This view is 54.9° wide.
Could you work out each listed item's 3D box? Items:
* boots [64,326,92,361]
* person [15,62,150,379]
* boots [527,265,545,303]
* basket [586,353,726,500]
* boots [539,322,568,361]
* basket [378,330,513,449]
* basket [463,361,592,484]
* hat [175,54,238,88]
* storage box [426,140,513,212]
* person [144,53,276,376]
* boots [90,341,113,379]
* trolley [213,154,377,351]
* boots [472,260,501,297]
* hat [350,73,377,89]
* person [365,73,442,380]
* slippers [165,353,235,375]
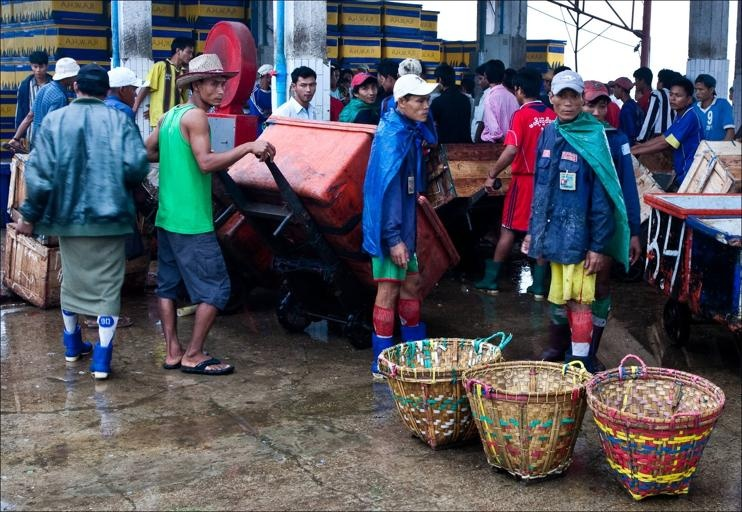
[{"bbox_3d":[-2.540,0.722,6.140,0.157,0.256,0.356,3,9,5],"label":"boots"},{"bbox_3d":[-2.239,-0.262,5.643,0.955,2.443,0.443,3,11,5],"label":"person"},{"bbox_3d":[1.808,0.286,7.920,0.111,0.269,0.281,20,-8,36],"label":"boots"},{"bbox_3d":[1.691,1.044,4.271,0.731,0.695,0.645,7,12,26],"label":"basket"},{"bbox_3d":[1.563,0.713,5.944,0.222,0.335,0.269,5,12,14],"label":"boots"},{"bbox_3d":[0.427,0.836,4.773,0.885,0.591,0.744,-5,5,-32],"label":"basket"},{"bbox_3d":[0.946,0.962,4.535,0.726,0.626,0.762,-2,1,-12],"label":"basket"},{"bbox_3d":[-1.351,-1.525,5.822,0.460,0.270,0.303,-2,12,-16],"label":"hat"},{"bbox_3d":[1.198,-0.955,8.380,0.836,0.499,0.818,-1,11,-1],"label":"storage box"},{"bbox_3d":[-1.444,-0.350,5.842,1.005,2.554,0.556,9,14,33],"label":"person"},{"bbox_3d":[-2.203,0.823,5.792,0.152,0.261,0.380,8,2,-24],"label":"boots"},{"bbox_3d":[-0.556,-0.061,6.418,1.817,1.625,1.128,1,5,-38],"label":"trolley"},{"bbox_3d":[1.369,0.221,8.276,0.233,0.396,0.408,0,4,-33],"label":"boots"},{"bbox_3d":[-0.122,-2.047,8.243,0.192,0.124,0.241,-5,-4,-25],"label":"hat"},{"bbox_3d":[0.212,-0.240,5.694,0.559,2.372,0.830,3,11,7],"label":"person"},{"bbox_3d":[-1.423,0.897,5.872,0.509,0.132,0.214,-2,-4,2],"label":"slippers"}]
